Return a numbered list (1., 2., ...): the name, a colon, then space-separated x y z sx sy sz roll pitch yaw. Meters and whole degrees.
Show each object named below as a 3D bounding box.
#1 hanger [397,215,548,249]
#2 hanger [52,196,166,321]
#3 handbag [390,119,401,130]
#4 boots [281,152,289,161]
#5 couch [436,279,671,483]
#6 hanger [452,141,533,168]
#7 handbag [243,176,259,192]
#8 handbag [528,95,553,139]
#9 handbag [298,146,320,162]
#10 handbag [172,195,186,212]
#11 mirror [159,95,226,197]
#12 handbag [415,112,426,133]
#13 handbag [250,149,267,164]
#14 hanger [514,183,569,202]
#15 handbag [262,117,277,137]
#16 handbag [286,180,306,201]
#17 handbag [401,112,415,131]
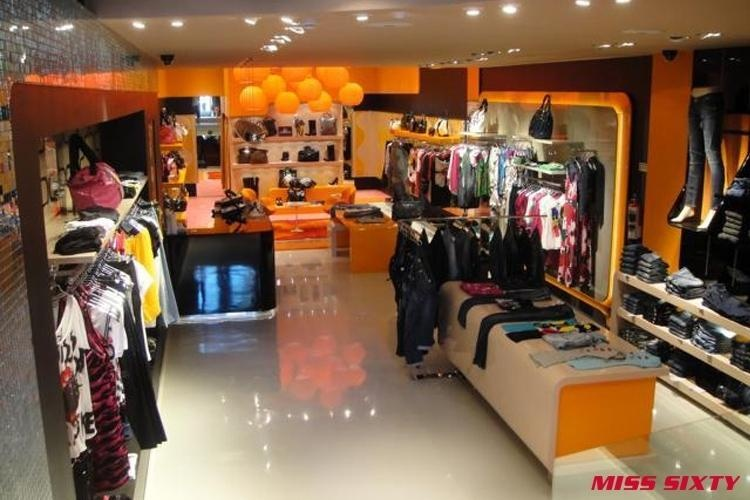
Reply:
1. hanger: 1.036 -0.207 5.431 1.374 0.331 0.481 -2 12 1
2. hanger: -1.803 0.062 3.462 0.395 0.272 1.117 -2 21 -8
3. handbag: 0.502 -3.141 12.680 0.329 0.335 0.342 2 5 5
4. boots: -2.035 -2.151 11.617 0.139 0.205 0.198 2 -2 -9
5. couch: 1.412 1.012 4.408 0.915 0.940 1.707 -7 13 -23
6. hanger: 2.119 -1.610 8.494 0.889 0.332 0.497 -4 13 -8
7. handbag: -2.722 -1.498 11.544 0.282 0.405 0.360 -1 1 12
8. handbag: 2.387 -1.925 7.359 0.298 0.626 0.288 0 11 13
9. handbag: -1.524 -2.190 11.654 0.549 0.391 0.311 0 12 -6
10. handbag: -4.043 -0.989 10.612 0.290 0.305 0.316 0 -2 -9
11. mirror: -4.318 -2.625 12.108 0.806 2.367 2.541 -2 15 -7
12. handbag: 1.031 -2.829 11.542 0.254 0.319 0.385 -1 11 4
13. handbag: -2.564 -2.072 11.317 0.312 0.326 0.313 0 3 -34
14. hanger: 2.385 -0.872 7.488 0.211 0.261 0.710 -11 18 -35
15. handbag: -2.326 -2.757 11.333 0.347 0.466 0.341 -5 9 -30
16. handbag: -1.736 -1.332 11.272 0.330 0.490 0.173 0 -14 -3
17. handbag: 0.757 -3.052 12.052 0.311 0.466 0.450 8 22 17
